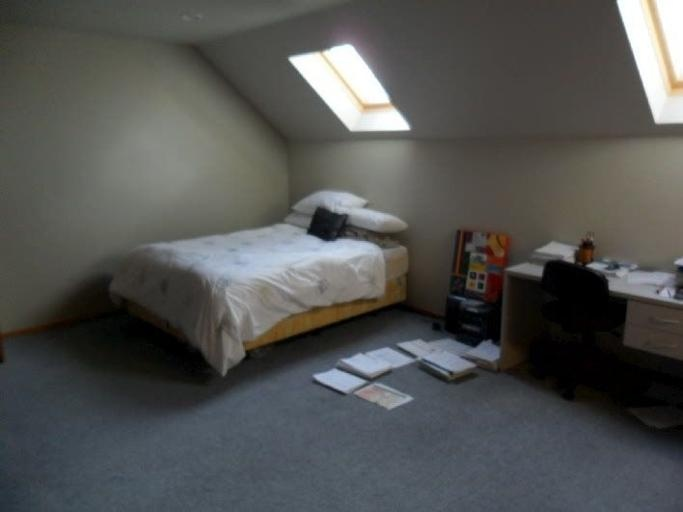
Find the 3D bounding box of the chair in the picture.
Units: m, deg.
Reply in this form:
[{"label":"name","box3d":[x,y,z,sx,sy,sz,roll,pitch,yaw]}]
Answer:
[{"label":"chair","box3d":[1.542,0.354,3.041,0.476,0.874,0.554,3,22,38]}]

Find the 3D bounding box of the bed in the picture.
[{"label":"bed","box3d":[-0.456,0.155,3.478,1.374,0.479,1.156,-11,23,-41]}]
